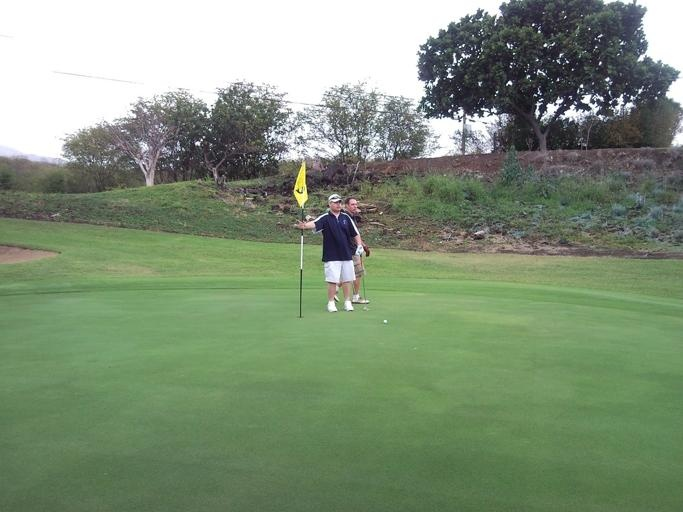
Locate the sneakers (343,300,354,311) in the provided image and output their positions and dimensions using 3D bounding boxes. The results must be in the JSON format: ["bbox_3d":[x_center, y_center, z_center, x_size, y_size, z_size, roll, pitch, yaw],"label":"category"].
[{"bbox_3d":[0.121,0.819,8.806,0.126,0.158,0.357,-1,-6,-7],"label":"sneakers"}]

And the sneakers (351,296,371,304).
[{"bbox_3d":[0.345,0.784,9.436,0.331,0.156,0.120,-1,1,13],"label":"sneakers"}]
